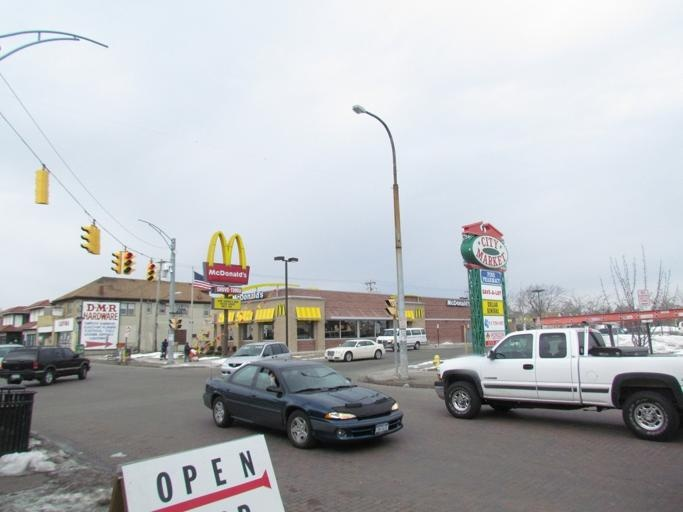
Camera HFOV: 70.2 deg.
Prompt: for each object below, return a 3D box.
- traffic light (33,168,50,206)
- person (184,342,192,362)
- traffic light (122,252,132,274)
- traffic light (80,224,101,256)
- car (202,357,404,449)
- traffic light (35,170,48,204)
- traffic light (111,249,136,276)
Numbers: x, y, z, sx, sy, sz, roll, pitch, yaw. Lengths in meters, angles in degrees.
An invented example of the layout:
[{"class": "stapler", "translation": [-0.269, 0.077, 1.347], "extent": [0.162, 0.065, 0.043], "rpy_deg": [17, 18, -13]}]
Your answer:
[{"class": "traffic light", "translation": [-7.045, -1.643, 11.410], "extent": [0.242, 0.850, 0.188], "rpy_deg": [3, -9, -32]}, {"class": "person", "translation": [-11.453, 7.231, 36.274], "extent": [0.408, 1.268, 1.167], "rpy_deg": [1, -9, -22]}, {"class": "traffic light", "translation": [-9.844, 0.320, 22.439], "extent": [0.416, 1.113, 1.091], "rpy_deg": [2, -9, -25]}, {"class": "traffic light", "translation": [-8.469, -0.476, 16.490], "extent": [0.388, 1.028, 0.890], "rpy_deg": [-4, -24, -18]}, {"class": "car", "translation": [-0.995, 3.064, 10.273], "extent": [1.772, 1.213, 3.716], "rpy_deg": [5, -11, -40]}, {"class": "traffic light", "translation": [-7.079, -1.652, 11.481], "extent": [0.260, 0.820, 0.235], "rpy_deg": [2, -3, -44]}, {"class": "traffic light", "translation": [-8.322, 0.223, 18.550], "extent": [0.995, 0.978, 1.038], "rpy_deg": [1, -5, -7]}]
